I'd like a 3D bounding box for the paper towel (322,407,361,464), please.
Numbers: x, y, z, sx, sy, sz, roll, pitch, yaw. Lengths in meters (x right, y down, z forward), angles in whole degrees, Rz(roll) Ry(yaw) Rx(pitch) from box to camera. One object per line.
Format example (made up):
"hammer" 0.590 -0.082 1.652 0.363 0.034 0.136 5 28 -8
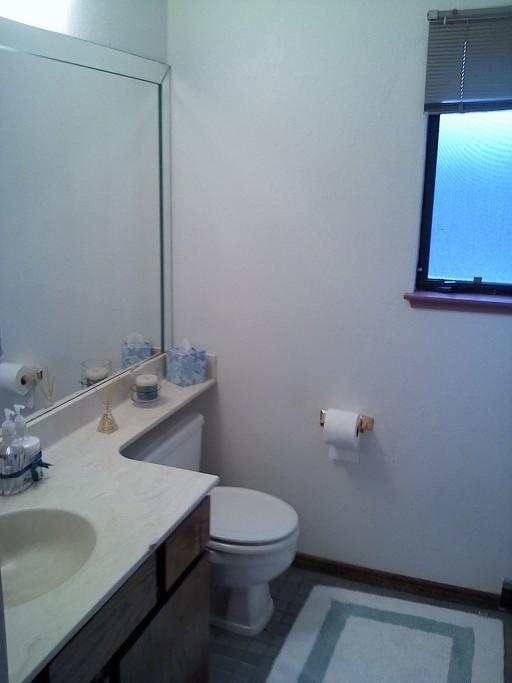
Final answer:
"paper towel" 0.307 0.358 1.821 0.136 0.225 0.137 3 10 15

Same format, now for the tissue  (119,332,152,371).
"tissue " -0.439 0.037 1.812 0.051 0.192 0.100 9 10 41
